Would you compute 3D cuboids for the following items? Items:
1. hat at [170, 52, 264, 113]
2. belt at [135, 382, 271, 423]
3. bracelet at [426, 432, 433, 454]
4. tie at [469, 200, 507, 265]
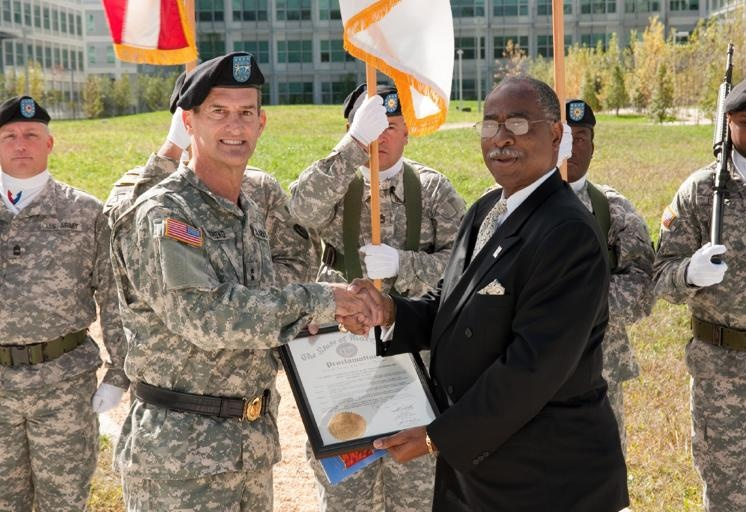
[{"bbox_3d":[-1.160,-1.186,5.473,0.402,0.182,0.533,-7,-5,-36],"label":"hat"},{"bbox_3d":[-1.163,0.995,5.270,0.907,0.281,0.243,-1,13,-8],"label":"belt"},{"bbox_3d":[0.370,1.234,5.100,0.033,0.113,0.082,-6,10,2],"label":"bracelet"},{"bbox_3d":[0.798,-0.200,5.330,0.229,0.413,0.285,19,49,10],"label":"tie"}]
